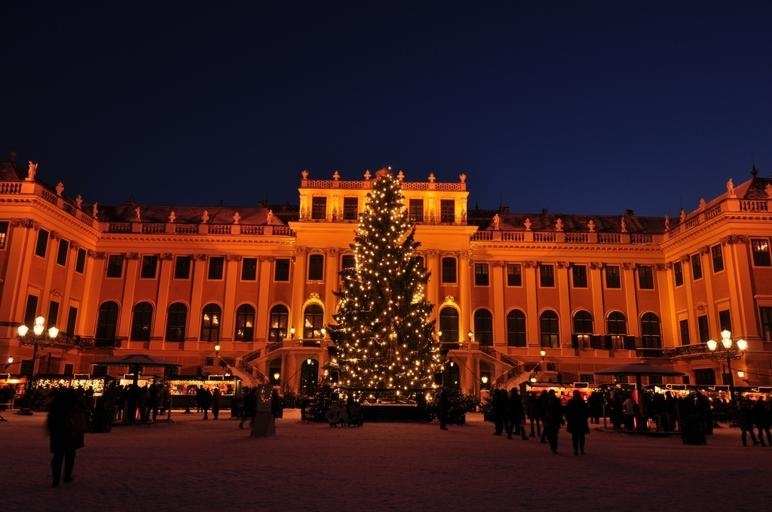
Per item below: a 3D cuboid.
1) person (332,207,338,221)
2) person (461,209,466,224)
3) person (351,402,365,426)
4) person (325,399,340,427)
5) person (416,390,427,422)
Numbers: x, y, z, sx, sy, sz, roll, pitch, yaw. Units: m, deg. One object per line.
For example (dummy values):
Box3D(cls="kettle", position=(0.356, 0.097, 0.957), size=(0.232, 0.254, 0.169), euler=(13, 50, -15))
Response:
Box3D(cls="person", position=(-4.288, -3.521, 52.014), size=(0.385, 1.168, 0.175), euler=(4, -16, -11))
Box3D(cls="person", position=(6.680, -3.297, 52.573), size=(0.287, 1.310, 0.548), euler=(-12, -20, 37))
Box3D(cls="person", position=(-1.332, 7.407, 28.354), size=(0.518, 0.953, 0.565), euler=(-3, -16, 11))
Box3D(cls="person", position=(-2.369, 7.268, 28.093), size=(0.604, 1.083, 0.881), euler=(2, -16, -6))
Box3D(cls="person", position=(1.892, 7.857, 31.943), size=(0.605, 1.413, 0.324), euler=(-4, -16, 16))
